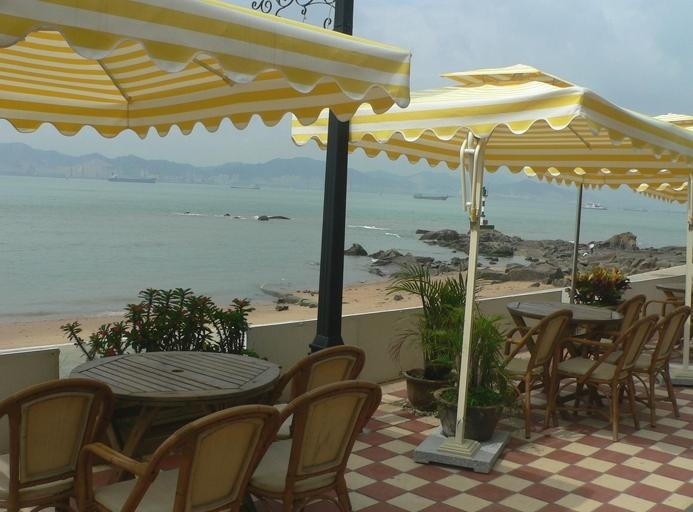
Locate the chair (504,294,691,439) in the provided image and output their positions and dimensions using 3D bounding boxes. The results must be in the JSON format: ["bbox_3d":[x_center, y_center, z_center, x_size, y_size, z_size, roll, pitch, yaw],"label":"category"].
[{"bbox_3d":[2.479,0.896,5.724,1.280,1.762,1.529,-5,8,-44],"label":"chair"}]

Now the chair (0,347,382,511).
[{"bbox_3d":[-0.320,0.845,3.270,1.517,0.805,1.289,0,-6,7],"label":"chair"}]
